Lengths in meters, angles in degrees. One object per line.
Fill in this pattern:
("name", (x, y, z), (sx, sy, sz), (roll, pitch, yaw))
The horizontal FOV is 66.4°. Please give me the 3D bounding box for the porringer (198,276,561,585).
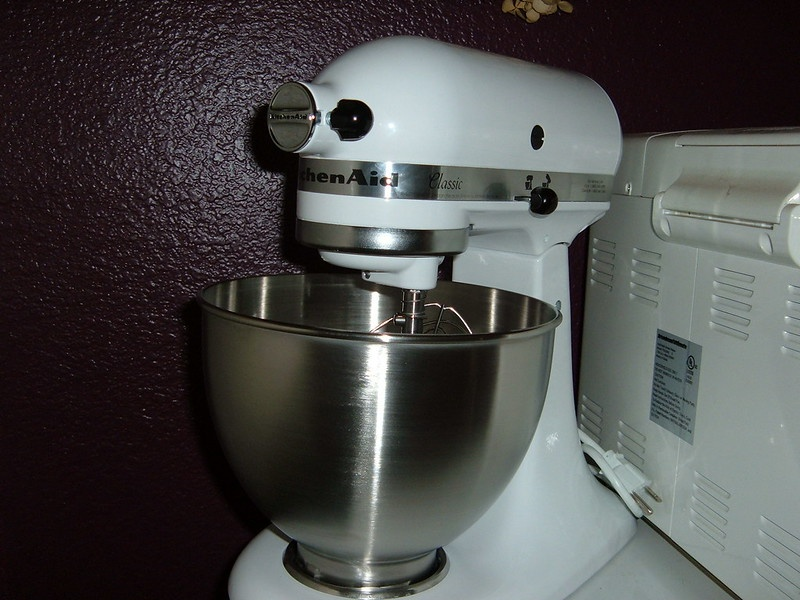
("porringer", (0.008, 0.070, 0.657), (0.325, 0.246, 0.335), (7, 4, 33))
